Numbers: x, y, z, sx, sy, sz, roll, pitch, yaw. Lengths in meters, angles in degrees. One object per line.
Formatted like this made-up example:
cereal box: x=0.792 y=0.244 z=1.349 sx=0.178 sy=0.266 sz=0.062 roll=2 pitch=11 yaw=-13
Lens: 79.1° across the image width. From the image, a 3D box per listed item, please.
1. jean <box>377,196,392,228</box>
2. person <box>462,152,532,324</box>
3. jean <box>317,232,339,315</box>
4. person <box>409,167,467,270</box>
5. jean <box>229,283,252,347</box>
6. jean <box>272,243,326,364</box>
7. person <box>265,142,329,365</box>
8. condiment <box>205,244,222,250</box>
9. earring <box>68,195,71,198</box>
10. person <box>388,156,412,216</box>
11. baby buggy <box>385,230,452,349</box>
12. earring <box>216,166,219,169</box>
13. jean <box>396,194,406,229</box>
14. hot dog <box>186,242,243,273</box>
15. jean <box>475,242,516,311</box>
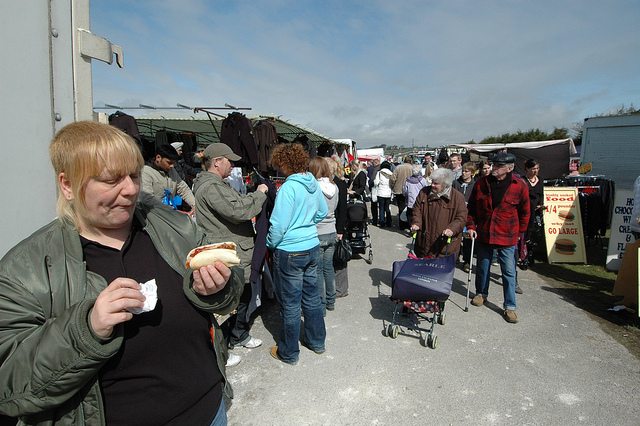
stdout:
jean: x=1.970 y=-0.071 z=11.863 sx=0.390 sy=0.987 sz=0.439 roll=-2 pitch=12 yaw=4
person: x=2.674 y=0.317 z=5.870 sx=0.854 sy=2.407 sz=0.790 roll=3 pitch=13 yaw=27
jean: x=0.156 y=0.844 z=5.580 sx=0.377 sy=1.091 sz=0.357 roll=-1 pitch=-4 yaw=9
person: x=1.740 y=0.023 z=5.756 sx=0.783 sy=1.371 sz=0.764 roll=3 pitch=13 yaw=28
jean: x=-1.002 y=1.269 z=4.873 sx=0.341 sy=0.862 sz=0.247 roll=-5 pitch=12 yaw=-8
jean: x=-0.251 y=1.061 z=4.673 sx=0.605 sy=1.405 sz=0.353 roll=-12 pitch=15 yaw=-36
person: x=-0.302 y=0.471 z=4.657 sx=0.588 sy=2.604 sz=0.765 roll=0 pitch=12 yaw=15
condiment: x=-0.677 y=0.211 z=2.435 sx=0.096 sy=0.017 sz=0.028 roll=-6 pitch=12 yaw=-15
earring: x=-1.510 y=-0.106 z=2.322 sx=0.009 sy=0.010 sz=0.009 roll=-14 pitch=23 yaw=-35
person: x=2.360 y=-0.924 z=11.455 sx=0.738 sy=1.820 sz=0.540 roll=-11 pitch=39 yaw=-10
baby buggy: x=1.473 y=0.971 z=5.568 sx=0.706 sy=1.354 sz=1.520 roll=7 pitch=13 yaw=19
earring: x=-1.166 y=-0.523 z=4.390 sx=0.031 sy=0.029 sz=0.005 roll=-2 pitch=12 yaw=4
jean: x=2.403 y=-0.066 z=11.433 sx=0.284 sy=1.036 sz=0.676 roll=-2 pitch=12 yaw=6
hot dog: x=-0.687 y=0.255 z=2.475 sx=0.246 sy=0.202 sz=0.089 roll=-4 pitch=51 yaw=-5
jean: x=2.731 y=0.917 z=5.934 sx=0.309 sy=0.928 sz=0.668 roll=-10 pitch=14 yaw=-29
